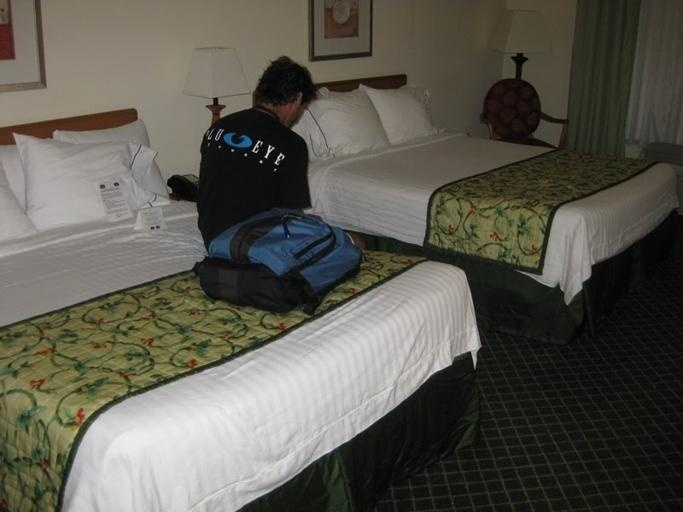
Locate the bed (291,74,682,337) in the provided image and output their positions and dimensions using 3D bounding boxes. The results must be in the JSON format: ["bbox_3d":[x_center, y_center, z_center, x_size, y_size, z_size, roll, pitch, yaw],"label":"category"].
[{"bbox_3d":[0.918,-0.194,4.132,2.523,1.254,1.988,23,35,32],"label":"bed"}]

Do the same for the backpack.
[{"bbox_3d":[-0.304,0.012,2.081,0.468,0.186,0.474,18,41,25],"label":"backpack"}]

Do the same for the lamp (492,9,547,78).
[{"bbox_3d":[2.134,-2.554,6.077,0.683,0.981,0.699,4,25,15],"label":"lamp"}]

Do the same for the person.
[{"bbox_3d":[-0.326,-0.500,2.694,0.754,1.006,0.783,17,13,19],"label":"person"}]

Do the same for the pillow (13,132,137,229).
[{"bbox_3d":[-1.586,-0.440,2.896,0.571,0.574,0.168,-6,-5,-31],"label":"pillow"}]

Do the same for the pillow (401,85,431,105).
[{"bbox_3d":[0.775,-1.669,5.145,0.259,0.088,0.287,23,34,32],"label":"pillow"}]
